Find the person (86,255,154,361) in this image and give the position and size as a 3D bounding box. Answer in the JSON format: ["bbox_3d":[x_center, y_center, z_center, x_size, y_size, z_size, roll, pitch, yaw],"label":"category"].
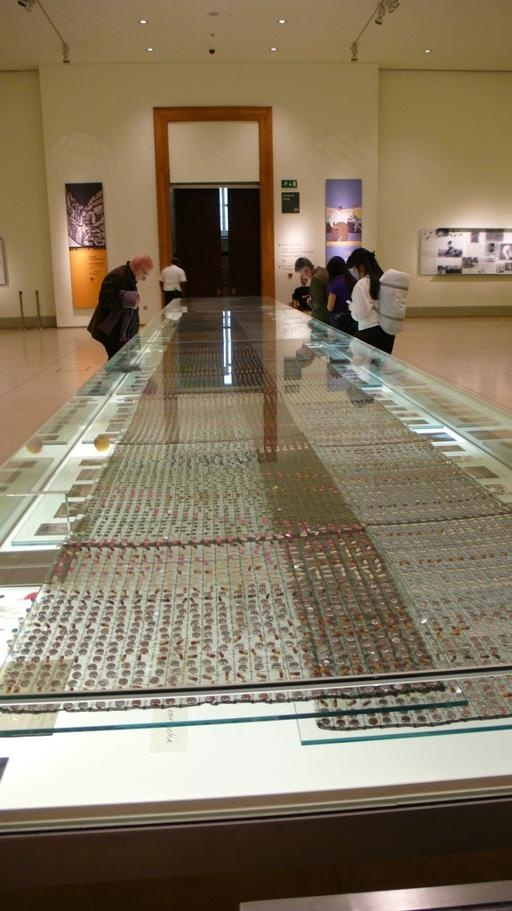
[{"bbox_3d":[-1.314,-1.448,5.636,0.585,0.978,0.824,-6,10,-22],"label":"person"}]

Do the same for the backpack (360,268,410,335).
[{"bbox_3d":[1.113,-1.313,4.707,0.217,0.603,0.427,-4,43,1],"label":"backpack"}]

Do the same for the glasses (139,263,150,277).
[{"bbox_3d":[-1.070,-1.813,5.608,0.076,0.111,0.108,8,33,22],"label":"glasses"}]
